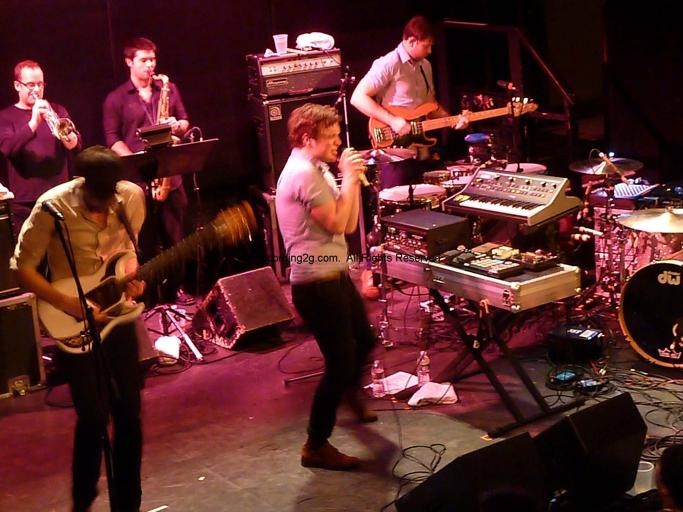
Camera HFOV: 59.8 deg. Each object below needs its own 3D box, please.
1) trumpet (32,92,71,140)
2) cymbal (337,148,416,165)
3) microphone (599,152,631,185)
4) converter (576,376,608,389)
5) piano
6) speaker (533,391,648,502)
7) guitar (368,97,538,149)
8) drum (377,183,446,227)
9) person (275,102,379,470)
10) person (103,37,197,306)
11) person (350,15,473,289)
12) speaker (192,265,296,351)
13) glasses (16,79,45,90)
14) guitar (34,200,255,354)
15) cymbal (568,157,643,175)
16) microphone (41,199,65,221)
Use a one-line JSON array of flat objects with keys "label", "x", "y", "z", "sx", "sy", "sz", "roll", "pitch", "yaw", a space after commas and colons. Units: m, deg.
[{"label": "trumpet", "x": -2.442, "y": -1.141, "z": 5.159, "sx": 0.160, "sy": 0.269, "sz": 0.213, "roll": -19, "pitch": 22, "yaw": -35}, {"label": "cymbal", "x": 0.279, "y": -0.859, "z": 4.874, "sx": 0.437, "sy": 0.081, "sz": 0.430, "roll": 10, "pitch": 34, "yaw": 24}, {"label": "microphone", "x": 2.296, "y": -0.752, "z": 5.059, "sx": 0.201, "sy": 0.261, "sz": 0.372, "roll": 2, "pitch": 19, "yaw": 23}, {"label": "converter", "x": 1.774, "y": 0.918, "z": 4.260, "sx": 0.146, "sy": 0.043, "sz": 0.102, "roll": -3, "pitch": 5, "yaw": -6}, {"label": "piano", "x": 1.239, "y": -0.444, "z": 4.432, "sx": 0.462, "sy": 0.307, "sz": 0.857, "roll": -21, "pitch": 23, "yaw": -40}, {"label": "speaker", "x": 1.132, "y": 0.910, "z": 2.971, "sx": 0.525, "sy": 0.483, "sz": 0.604, "roll": 1, "pitch": 19, "yaw": -1}, {"label": "guitar", "x": 1.230, "y": -1.461, "z": 6.503, "sx": 1.847, "sy": 0.420, "sz": 1.197, "roll": -5, "pitch": 20, "yaw": -17}, {"label": "drum", "x": 0.622, "y": -0.486, "z": 5.345, "sx": 0.523, "sy": 0.313, "sz": 0.446, "roll": -5, "pitch": 19, "yaw": -13}, {"label": "person", "x": -0.075, "y": 0.218, "z": 3.399, "sx": 0.536, "sy": 2.084, "sz": 0.613, "roll": -6, "pitch": 18, "yaw": 3}, {"label": "person", "x": -1.892, "y": -0.746, "z": 6.000, "sx": 0.681, "sy": 2.719, "sz": 0.599, "roll": -11, "pitch": 26, "yaw": -26}, {"label": "person", "x": 0.707, "y": -1.231, "z": 6.527, "sx": 1.241, "sy": 2.431, "sz": 0.715, "roll": -17, "pitch": 26, "yaw": -37}, {"label": "speaker", "x": -0.850, "y": 0.449, "z": 5.392, "sx": 0.847, "sy": 0.676, "sz": 0.757, "roll": -12, "pitch": 21, "yaw": -33}, {"label": "glasses", "x": -2.719, "y": -1.500, "z": 5.210, "sx": 0.198, "sy": 0.087, "sz": 0.101, "roll": -9, "pitch": 18, "yaw": -10}, {"label": "guitar", "x": -1.185, "y": 0.109, "z": 3.239, "sx": 1.216, "sy": 0.858, "sz": 0.742, "roll": -15, "pitch": 25, "yaw": -37}, {"label": "cymbal", "x": 2.269, "y": -0.751, "z": 5.045, "sx": 0.330, "sy": 0.069, "sz": 0.316, "roll": -2, "pitch": 28, "yaw": 6}, {"label": "microphone", "x": -1.183, "y": -0.187, "z": 2.447, "sx": 0.056, "sy": 0.063, "sz": 0.194, "roll": -6, "pitch": 36, "yaw": -42}]
